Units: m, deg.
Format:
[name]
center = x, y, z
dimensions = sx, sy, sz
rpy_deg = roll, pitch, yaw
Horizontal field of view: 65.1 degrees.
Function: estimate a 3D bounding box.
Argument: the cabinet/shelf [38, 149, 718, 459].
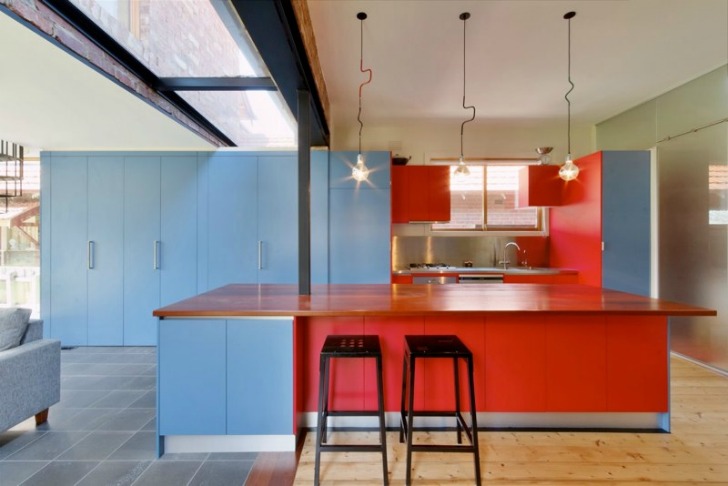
[cabinet/shelf]
center = -0.583, 0.367, 6.844
dimensions = 7.492, 3.602, 2.259
rpy_deg = -2, -2, 0
